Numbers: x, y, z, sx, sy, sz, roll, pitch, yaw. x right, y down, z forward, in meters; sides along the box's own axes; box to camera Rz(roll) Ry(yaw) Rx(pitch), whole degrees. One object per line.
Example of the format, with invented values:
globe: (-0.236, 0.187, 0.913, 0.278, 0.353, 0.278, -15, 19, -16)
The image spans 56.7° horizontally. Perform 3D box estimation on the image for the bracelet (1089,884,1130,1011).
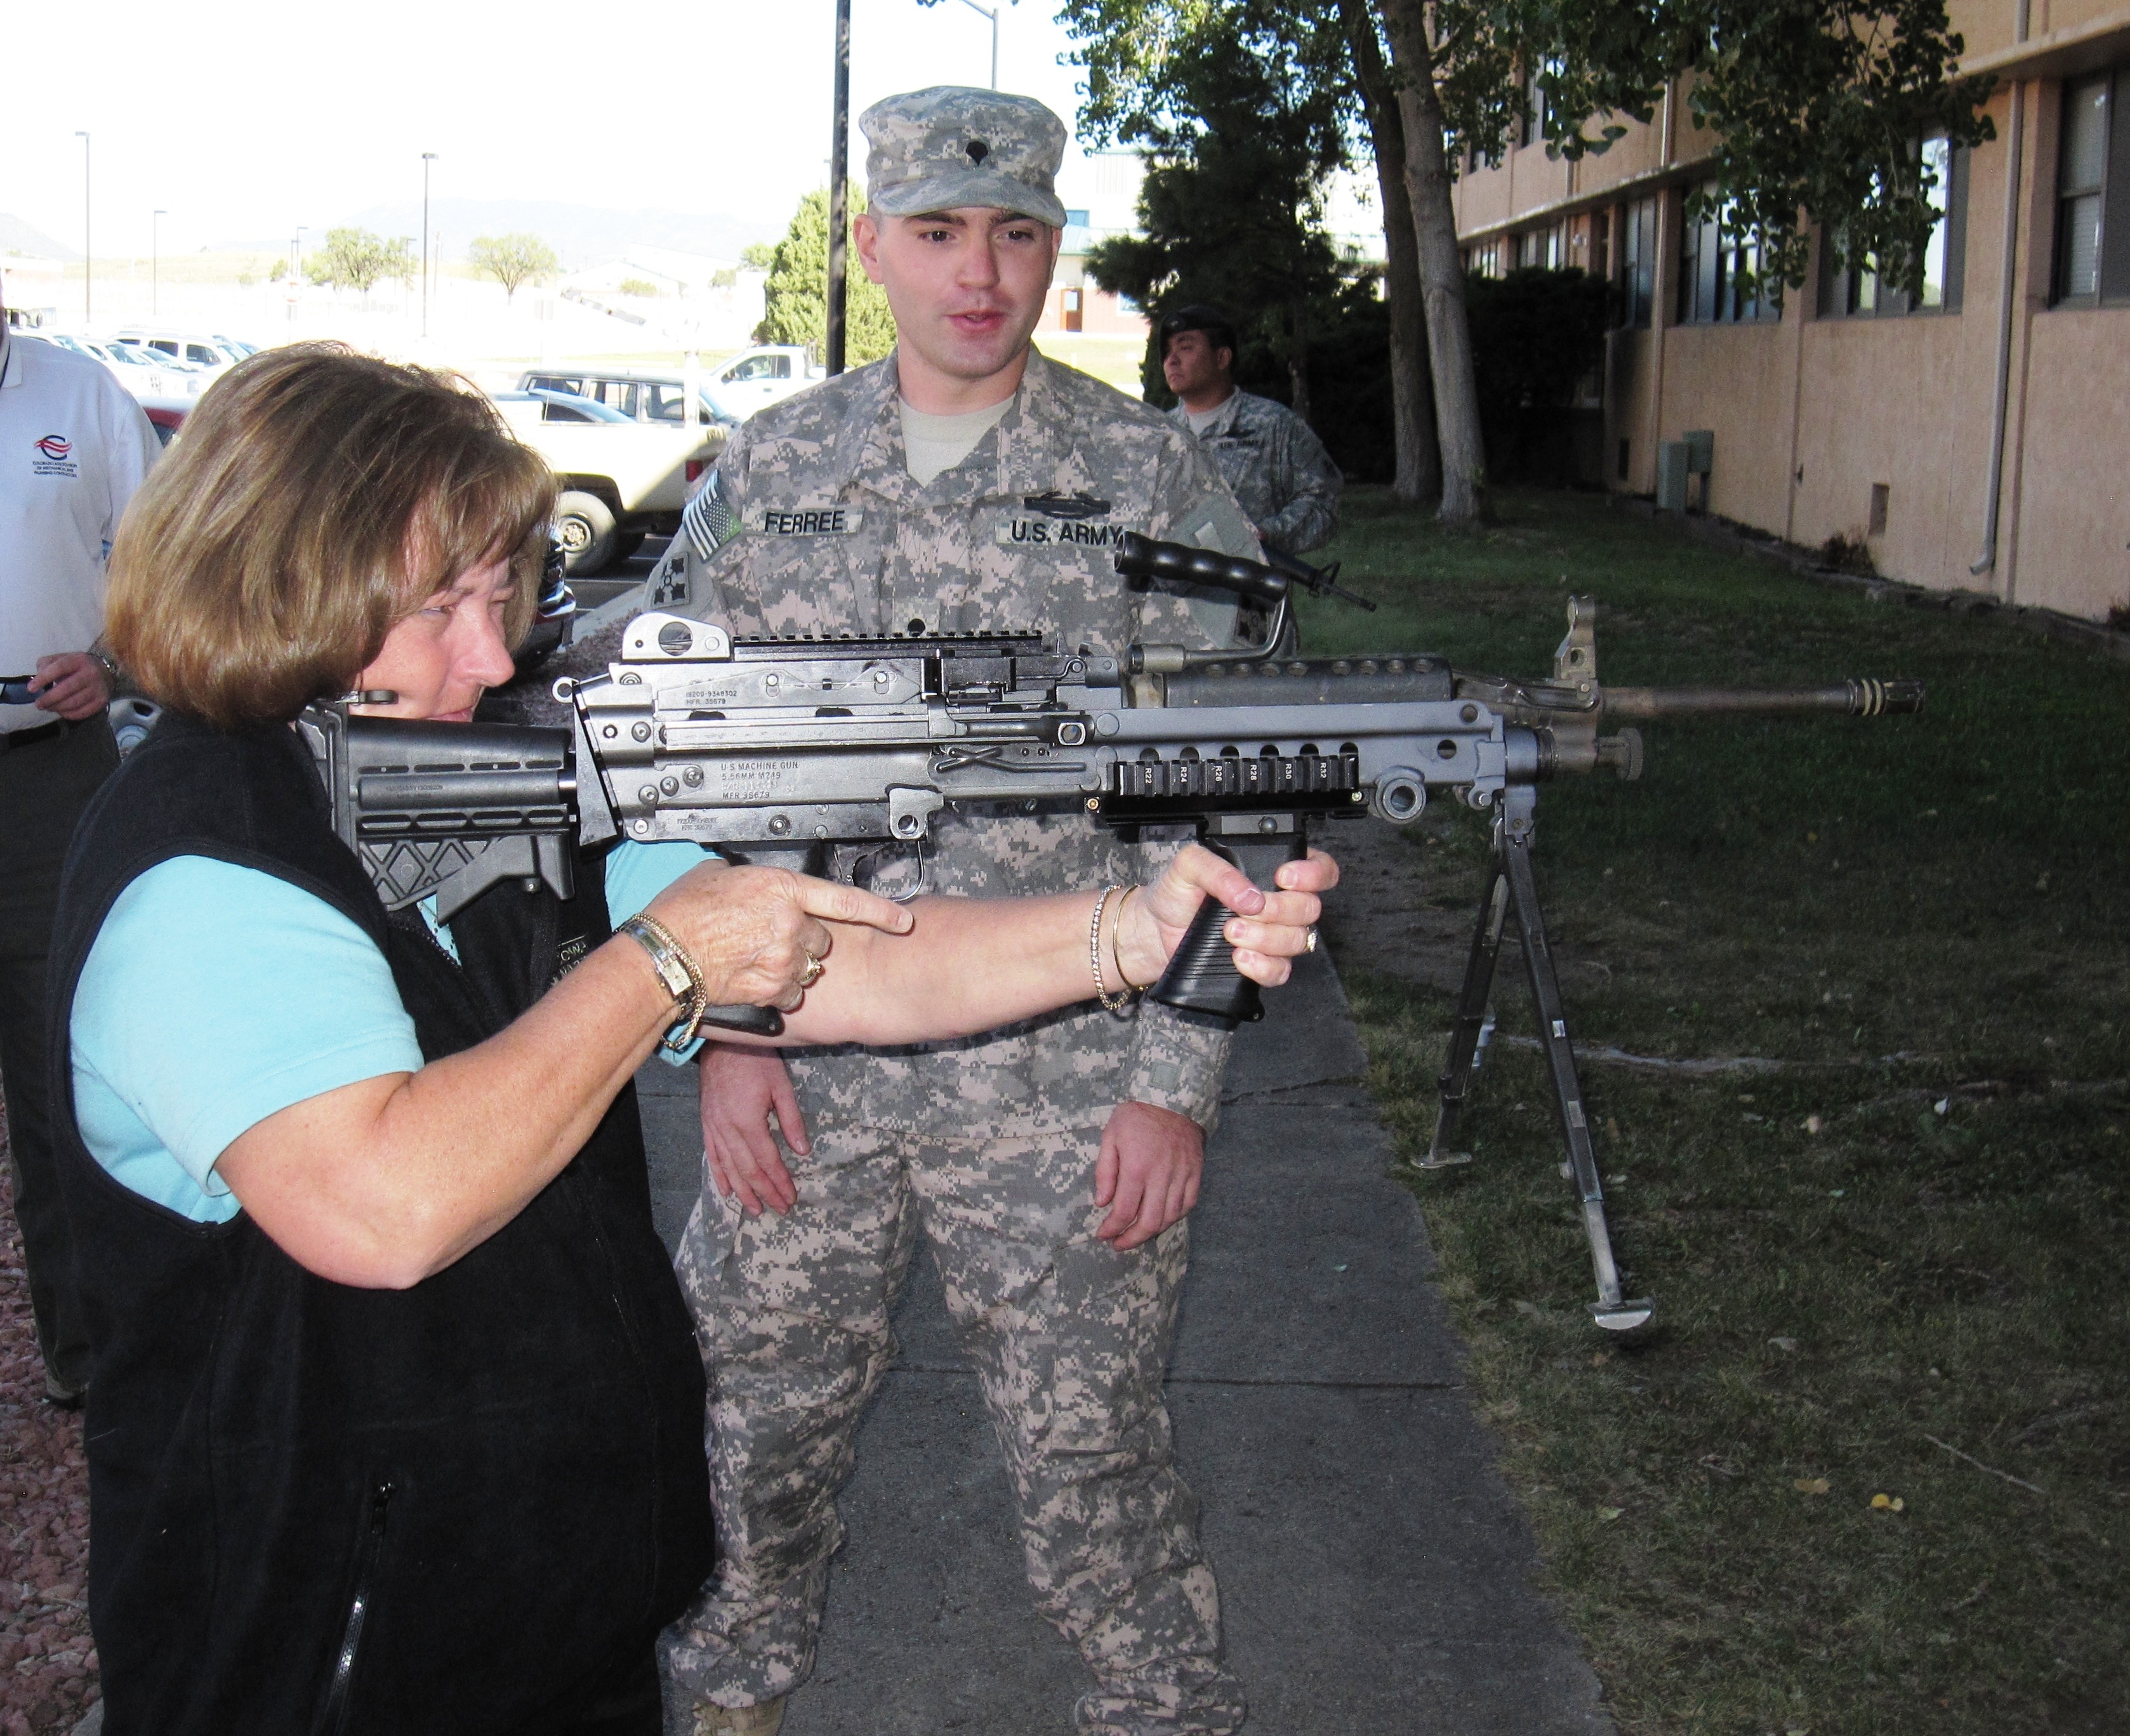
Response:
bracelet: (0.061, 0.126, 2.764, 0.031, 0.133, 0.100, 2, 13, 7)

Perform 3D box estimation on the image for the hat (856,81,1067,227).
hat: (-0.172, -1.421, 3.785, 0.344, 0.166, 0.510, 3, 26, 11)
